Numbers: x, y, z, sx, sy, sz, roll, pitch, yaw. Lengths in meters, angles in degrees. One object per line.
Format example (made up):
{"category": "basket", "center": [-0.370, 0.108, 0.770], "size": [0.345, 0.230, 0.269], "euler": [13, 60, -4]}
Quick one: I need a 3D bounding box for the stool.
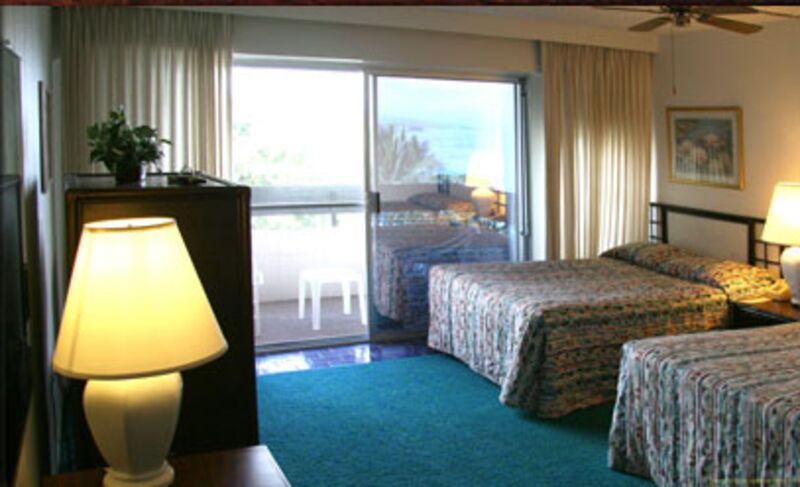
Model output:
{"category": "stool", "center": [-0.320, 0.209, 2.663], "size": [0.316, 0.243, 0.293], "euler": [-4, 10, -21]}

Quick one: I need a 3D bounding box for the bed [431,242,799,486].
{"category": "bed", "center": [0.759, 0.412, 2.335], "size": [1.077, 0.381, 0.817], "euler": [-4, 7, -18]}

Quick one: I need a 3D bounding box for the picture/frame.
{"category": "picture/frame", "center": [1.209, -0.388, 2.262], "size": [0.351, 0.366, 0.027], "euler": [-1, 0, -4]}

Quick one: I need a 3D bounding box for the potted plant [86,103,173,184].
{"category": "potted plant", "center": [-1.024, -0.368, 2.191], "size": [0.294, 0.266, 0.287], "euler": [-5, 8, -34]}
